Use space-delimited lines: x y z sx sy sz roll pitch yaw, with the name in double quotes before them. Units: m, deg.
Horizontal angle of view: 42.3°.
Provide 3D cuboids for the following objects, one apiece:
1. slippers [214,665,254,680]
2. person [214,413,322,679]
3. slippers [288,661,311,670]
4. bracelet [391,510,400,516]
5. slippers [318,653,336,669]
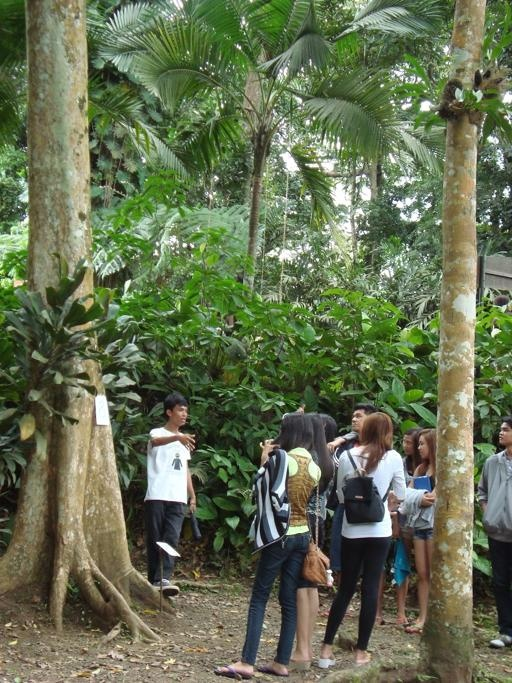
"slippers" -0.132 1.893 3.770 0.168 0.046 0.091 12 -10 5
"person" 0.137 1.219 4.026 0.404 1.520 0.528 11 -2 7
"slippers" 0.273 2.047 4.169 0.137 0.049 0.047 4 -8 0
"bracelet" 1.169 1.464 5.615 0.068 0.062 0.057 5 1 -8
"slippers" 0.450 2.048 4.265 0.053 0.057 0.141 3 4 19
